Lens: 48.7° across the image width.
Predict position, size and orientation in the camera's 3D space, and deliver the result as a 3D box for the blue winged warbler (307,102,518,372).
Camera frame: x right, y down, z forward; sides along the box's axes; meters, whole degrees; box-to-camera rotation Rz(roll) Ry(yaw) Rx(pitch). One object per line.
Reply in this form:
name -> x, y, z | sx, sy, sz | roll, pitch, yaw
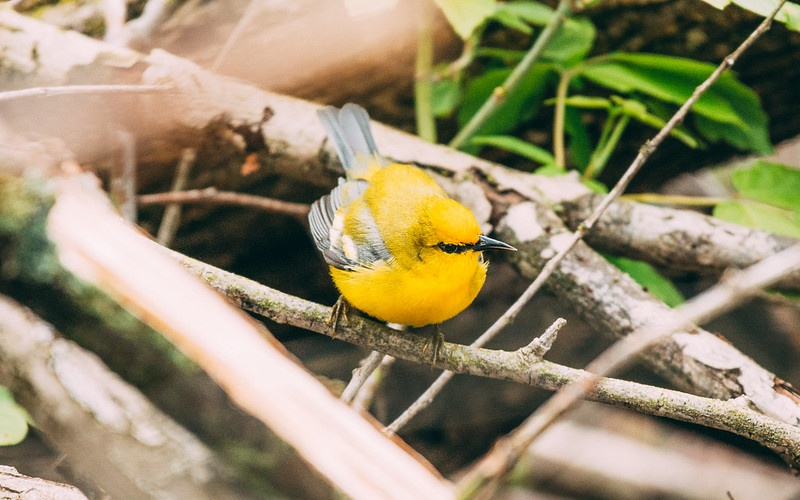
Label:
blue winged warbler -> -0.022, -0.246, 4.244 | 0.840, 0.778, 1.247 | -5, 53, -23
